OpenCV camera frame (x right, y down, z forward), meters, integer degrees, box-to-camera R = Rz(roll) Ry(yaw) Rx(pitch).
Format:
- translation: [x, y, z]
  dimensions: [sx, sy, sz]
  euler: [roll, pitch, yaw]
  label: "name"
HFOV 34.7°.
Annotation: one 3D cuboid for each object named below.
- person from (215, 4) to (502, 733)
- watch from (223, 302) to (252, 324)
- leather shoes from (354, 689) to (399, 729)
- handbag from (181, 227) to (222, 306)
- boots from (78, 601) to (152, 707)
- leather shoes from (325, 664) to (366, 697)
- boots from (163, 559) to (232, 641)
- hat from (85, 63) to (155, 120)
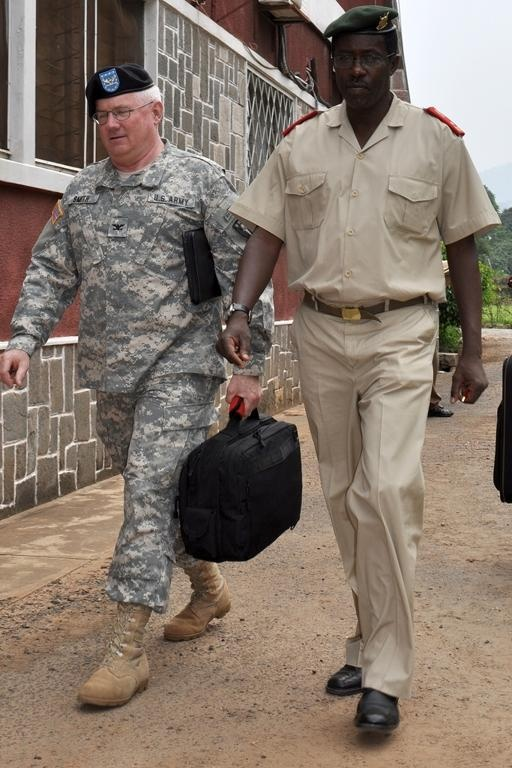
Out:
- translation: [0.269, -0.087, 2.286]
  dimensions: [0.775, 1.927, 0.508]
  euler: [0, 3, 15]
  label: "person"
- translation: [-0.063, -0.230, 2.503]
  dimensions: [0.087, 0.079, 0.048]
  euler: [0, 51, 11]
  label: "watch"
- translation: [0.309, 0.837, 2.117]
  dimensions: [0.109, 0.094, 0.131]
  euler: [0, 2, 8]
  label: "leather shoes"
- translation: [-0.184, -0.390, 2.717]
  dimensions: [0.069, 0.206, 0.224]
  euler: [-4, 14, 30]
  label: "handbag"
- translation: [-0.428, 0.804, 2.461]
  dimensions: [0.145, 0.270, 0.333]
  euler: [-1, -7, 19]
  label: "boots"
- translation: [0.268, 0.894, 2.479]
  dimensions: [0.062, 0.057, 0.130]
  euler: [-2, -7, 30]
  label: "leather shoes"
- translation: [-0.227, 0.786, 3.033]
  dimensions: [0.123, 0.247, 0.300]
  euler: [6, 21, 38]
  label: "boots"
- translation: [-0.466, -0.990, 2.754]
  dimensions: [0.177, 0.113, 0.216]
  euler: [-8, 6, 1]
  label: "hat"
